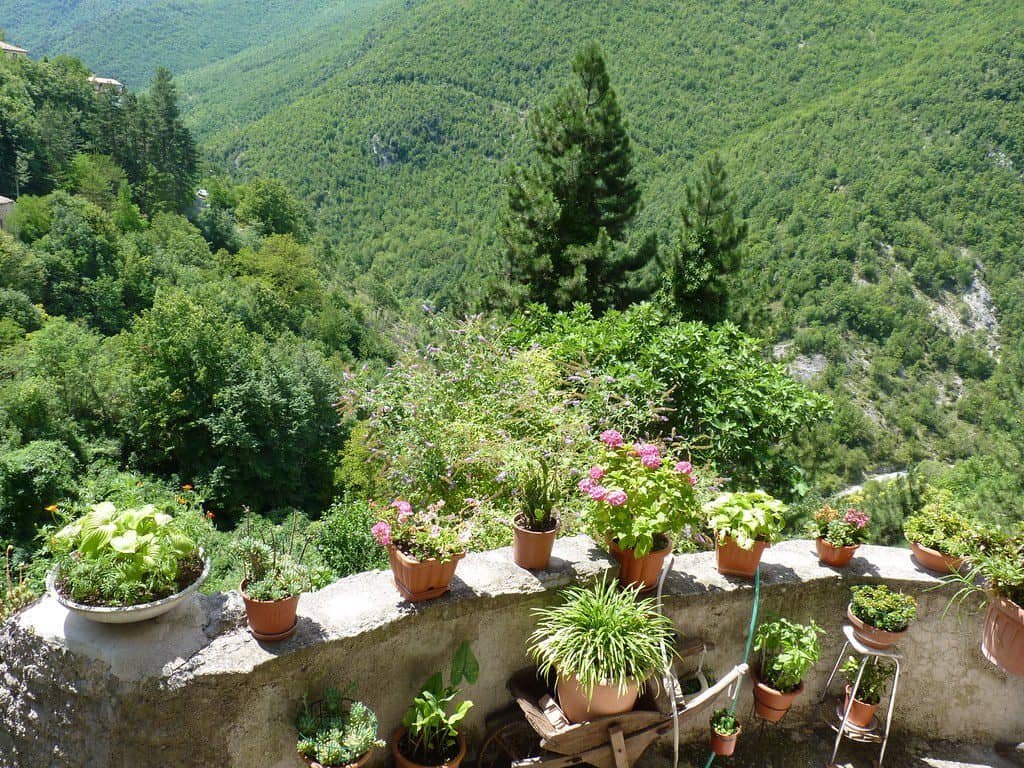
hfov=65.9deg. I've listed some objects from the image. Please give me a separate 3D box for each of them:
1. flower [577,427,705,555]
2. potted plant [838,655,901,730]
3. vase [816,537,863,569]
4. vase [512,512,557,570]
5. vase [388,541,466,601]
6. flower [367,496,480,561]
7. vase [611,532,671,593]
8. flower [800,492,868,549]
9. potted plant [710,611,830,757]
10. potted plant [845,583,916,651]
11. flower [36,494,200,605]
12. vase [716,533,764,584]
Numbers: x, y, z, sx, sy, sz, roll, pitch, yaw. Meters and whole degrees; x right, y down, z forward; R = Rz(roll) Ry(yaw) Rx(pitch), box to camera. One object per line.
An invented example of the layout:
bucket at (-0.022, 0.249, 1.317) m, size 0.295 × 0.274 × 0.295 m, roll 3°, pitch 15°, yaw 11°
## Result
flower at (0.894, 0.733, 5.446) m, size 0.636 × 0.573 × 0.577 m, roll -11°, pitch 4°, yaw -41°
potted plant at (2.466, 2.145, 5.507) m, size 0.347 × 0.788 × 0.417 m, roll 8°, pitch 42°, yaw 29°
vase at (2.330, 1.213, 5.670) m, size 0.217 × 0.153 × 0.223 m, roll 14°, pitch 15°, yaw 41°
vase at (0.141, 1.071, 5.416) m, size 0.359 × 0.322 × 0.374 m, roll 8°, pitch 14°, yaw -10°
vase at (-0.581, 1.180, 5.090) m, size 0.452 × 0.316 × 0.491 m, roll 1°, pitch 13°, yaw -23°
flower at (-0.590, 1.033, 5.687) m, size 0.644 × 0.283 × 0.745 m, roll -4°, pitch 19°, yaw -21°
vase at (0.967, 1.219, 5.538) m, size 0.500 × 0.432 × 0.530 m, roll -5°, pitch -11°, yaw 35°
flower at (2.382, 1.067, 5.766) m, size 0.427 × 0.336 × 0.382 m, roll 0°, pitch 7°, yaw -2°
potted plant at (1.853, 1.914, 5.355) m, size 0.447 × 0.508 × 0.421 m, roll -8°, pitch 37°, yaw 10°
potted plant at (2.485, 1.555, 5.421) m, size 0.382 × 0.319 × 0.412 m, roll -2°, pitch 29°, yaw -4°
flower at (-2.306, 1.107, 4.858) m, size 0.759 × 0.525 × 0.866 m, roll -2°, pitch -2°, yaw -12°
vase at (1.576, 1.215, 5.487) m, size 0.314 × 0.267 × 0.283 m, roll 2°, pitch 11°, yaw -2°
